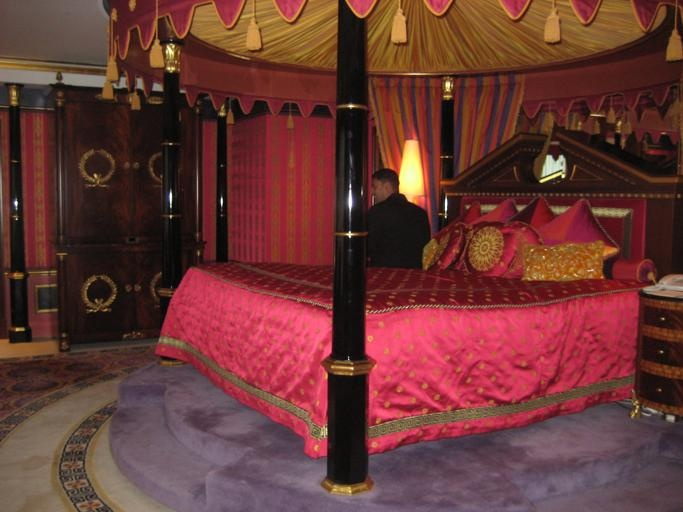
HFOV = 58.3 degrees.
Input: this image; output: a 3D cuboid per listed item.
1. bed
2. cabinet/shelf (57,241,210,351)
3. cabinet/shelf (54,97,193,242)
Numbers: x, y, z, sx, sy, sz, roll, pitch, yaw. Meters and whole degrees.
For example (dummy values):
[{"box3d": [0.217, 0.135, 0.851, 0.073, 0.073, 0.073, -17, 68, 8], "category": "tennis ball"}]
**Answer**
[{"box3d": [0.537, 0.607, 4.361, 3.515, 0.877, 1.796, -1, 9, -4], "category": "bed"}, {"box3d": [-2.446, 0.451, 6.826, 1.051, 1.016, 0.430, -2, 3, -28], "category": "cabinet/shelf"}, {"box3d": [-2.695, -1.040, 7.260, 1.504, 2.287, 0.757, -1, 2, -29], "category": "cabinet/shelf"}]
